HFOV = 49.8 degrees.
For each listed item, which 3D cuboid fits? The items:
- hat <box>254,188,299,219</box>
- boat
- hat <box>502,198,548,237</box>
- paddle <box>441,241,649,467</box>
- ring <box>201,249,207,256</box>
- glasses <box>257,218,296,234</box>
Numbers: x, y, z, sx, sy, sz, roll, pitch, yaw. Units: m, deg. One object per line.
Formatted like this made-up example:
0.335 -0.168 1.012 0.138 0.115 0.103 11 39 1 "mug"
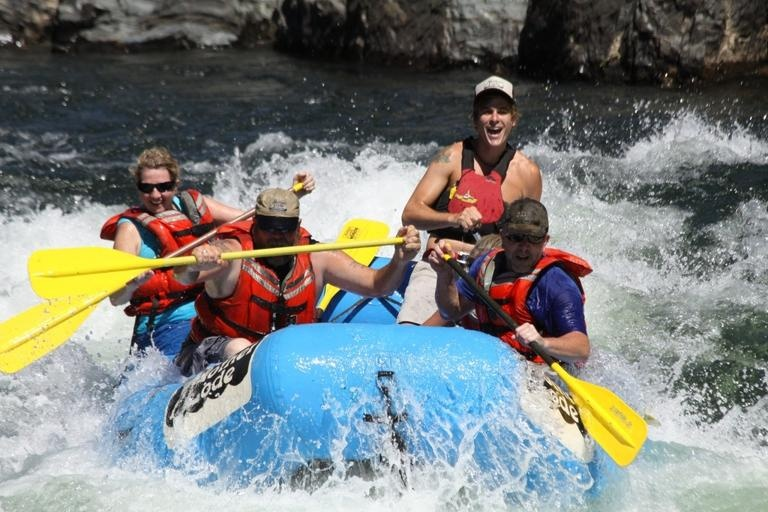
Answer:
-0.913 -0.444 7.057 0.358 0.242 0.220 -3 31 -11 "hat"
-0.551 1.670 8.656 3.303 1.702 4.953 3 -15 -16 "boat"
1.181 -0.335 6.837 0.391 0.296 0.542 0 8 14 "hat"
1.263 0.856 6.756 0.397 2.167 0.099 -45 7 -17 "paddle"
-1.475 -0.030 6.794 0.045 0.049 0.014 4 -11 -14 "ring"
-0.908 -0.271 7.050 0.350 0.144 0.094 1 30 -6 "glasses"
